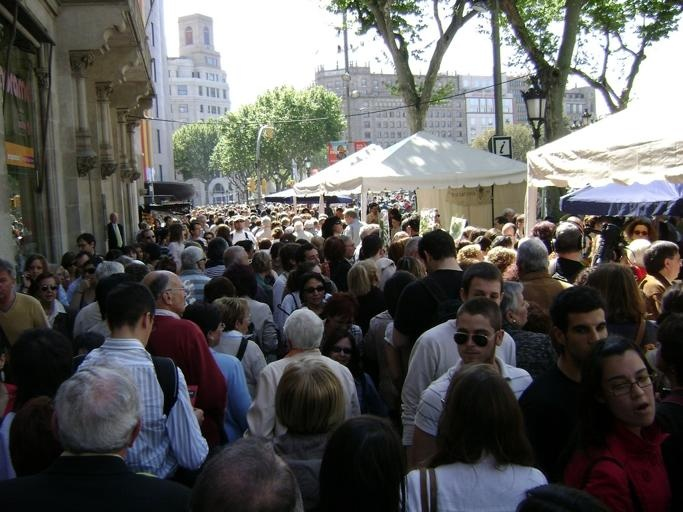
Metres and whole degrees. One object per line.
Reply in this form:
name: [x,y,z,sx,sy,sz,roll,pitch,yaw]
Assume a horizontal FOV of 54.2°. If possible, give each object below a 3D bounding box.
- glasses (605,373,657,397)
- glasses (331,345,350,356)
glasses: [1.539,0.693,3.561,0.138,0.043,0.140,-24,-5,31]
glasses: [0.010,0.794,5.596,0.100,0.039,0.106,3,1,-10]
